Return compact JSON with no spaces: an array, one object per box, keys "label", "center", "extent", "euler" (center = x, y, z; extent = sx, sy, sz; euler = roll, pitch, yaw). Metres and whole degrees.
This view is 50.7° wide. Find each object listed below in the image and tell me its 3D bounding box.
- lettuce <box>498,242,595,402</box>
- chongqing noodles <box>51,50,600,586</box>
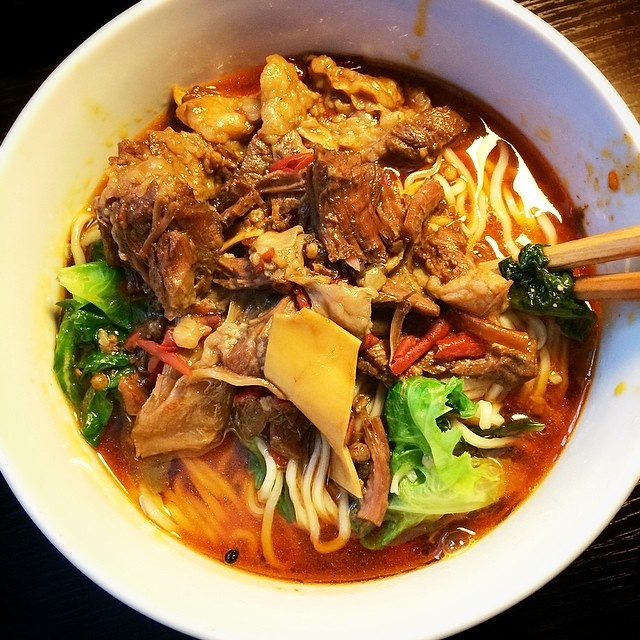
[{"label":"lettuce","center":[0.979,-0.133,2.931],"extent":[0.507,0.329,0.166],"euler":[39,12,2]},{"label":"chongqing noodles","center":[-0.013,-0.258,3.815],"extent":[3.403,2.196,1.845],"euler":[0,30,-7]}]
